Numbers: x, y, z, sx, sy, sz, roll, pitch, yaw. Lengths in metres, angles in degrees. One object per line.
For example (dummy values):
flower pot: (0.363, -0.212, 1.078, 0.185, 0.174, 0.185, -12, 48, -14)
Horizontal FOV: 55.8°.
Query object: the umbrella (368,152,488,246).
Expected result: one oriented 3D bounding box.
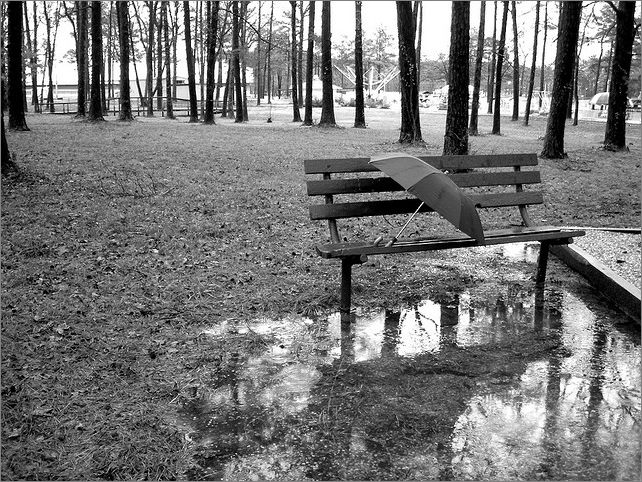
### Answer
umbrella: (0.974, -0.243, 6.112, 0.981, 0.688, 0.928, 20, 20, -19)
